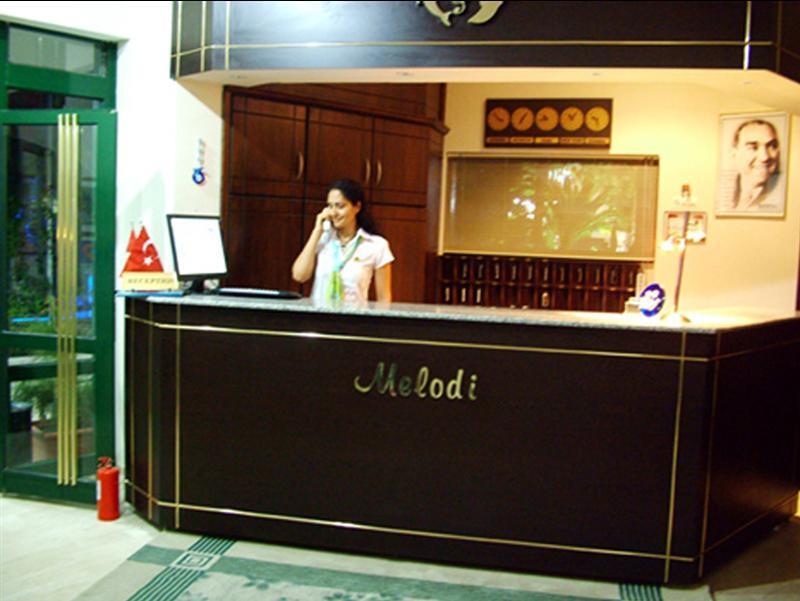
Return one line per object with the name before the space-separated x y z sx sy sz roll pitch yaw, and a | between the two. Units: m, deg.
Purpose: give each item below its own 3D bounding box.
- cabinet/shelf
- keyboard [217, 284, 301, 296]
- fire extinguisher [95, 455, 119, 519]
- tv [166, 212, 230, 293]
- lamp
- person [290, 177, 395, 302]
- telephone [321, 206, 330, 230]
cabinet/shelf | -0.546 -0.840 5.287 1.761 1.749 0.613 -3 8 -39
keyboard | -0.851 -0.059 4.132 0.519 0.037 0.190 6 11 27
fire extinguisher | -1.775 1.109 4.253 0.131 0.363 0.209 -3 9 -25
tv | -1.221 -0.287 4.187 0.147 0.462 0.427 -4 7 31
lamp | 2.324 -0.369 5.815 0.334 1.402 0.268 -6 33 6
person | -0.396 -0.410 4.617 0.659 0.792 0.363 2 8 3
telephone | -0.467 -0.541 4.550 0.032 0.111 0.075 -2 13 12
